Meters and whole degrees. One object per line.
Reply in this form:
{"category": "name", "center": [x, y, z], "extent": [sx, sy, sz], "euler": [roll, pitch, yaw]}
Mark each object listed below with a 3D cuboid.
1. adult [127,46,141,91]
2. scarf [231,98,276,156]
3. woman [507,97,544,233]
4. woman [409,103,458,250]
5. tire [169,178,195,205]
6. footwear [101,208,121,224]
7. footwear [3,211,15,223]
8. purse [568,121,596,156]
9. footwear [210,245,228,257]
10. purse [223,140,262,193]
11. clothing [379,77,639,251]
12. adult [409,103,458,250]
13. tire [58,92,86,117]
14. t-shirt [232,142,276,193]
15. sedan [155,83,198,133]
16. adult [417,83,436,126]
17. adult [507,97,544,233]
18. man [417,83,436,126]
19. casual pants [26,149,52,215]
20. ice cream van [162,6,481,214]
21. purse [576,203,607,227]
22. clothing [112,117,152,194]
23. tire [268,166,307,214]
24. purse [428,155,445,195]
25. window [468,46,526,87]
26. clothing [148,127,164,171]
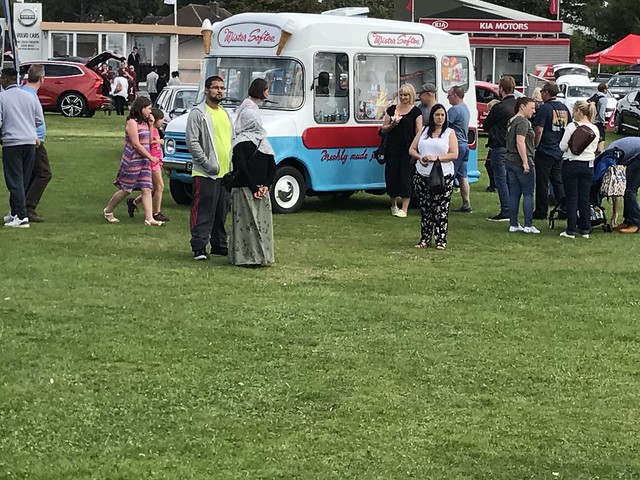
{"category": "adult", "center": [-7.486, -7.010, 39.714], "extent": [0.437, 1.618, 0.438], "euler": [3, 12, 26]}
{"category": "scarf", "center": [-0.835, -1.468, 12.010], "extent": [0.353, 0.577, 0.467], "euler": [0, 17, -5]}
{"category": "woman", "center": [2.999, -1.103, 14.659], "extent": [0.550, 1.957, 0.658], "euler": [11, 17, 37]}
{"category": "woman", "center": [1.551, -0.859, 13.450], "extent": [0.499, 1.988, 0.766], "euler": [-5, 15, -22]}
{"category": "tire", "center": [-2.283, -0.833, 16.384], "extent": [0.385, 0.427, 0.137], "euler": [-9, 13, -41]}
{"category": "footwear", "center": [-3.140, -0.368, 14.798], "extent": [0.142, 0.114, 0.381], "euler": [-22, 62, -35]}
{"category": "footwear", "center": [-4.475, -0.346, 14.189], "extent": [0.107, 0.138, 0.303], "euler": [13, 11, -25]}
{"category": "purse", "center": [3.629, -1.428, 13.813], "extent": [0.164, 0.326, 0.410], "euler": [22, 21, -20]}
{"category": "footwear", "center": [-1.306, 0.123, 12.745], "extent": [0.261, 0.204, 0.100], "euler": [-3, 9, -4]}
{"category": "purse", "center": [-0.926, -0.899, 11.837], "extent": [0.197, 0.572, 0.365], "euler": [16, 31, 14]}
{"category": "clothing", "center": [2.401, -1.296, 15.507], "extent": [3.586, 2.366, 2.227], "euler": [-1, 4, -25]}
{"category": "adult", "center": [1.551, -0.860, 13.454], "extent": [0.490, 1.988, 0.745], "euler": [-6, 15, -27]}
{"category": "tire", "center": [-8.676, -4.831, 34.473], "extent": [0.677, 0.749, 0.288], "euler": [-2, 33, -21]}
{"category": "t-shirt", "center": [-0.825, -0.892, 11.888], "extent": [0.488, 0.558, 0.295], "euler": [-2, 11, -24]}
{"category": "sedan", "center": [-3.538, -3.135, 23.158], "extent": [1.403, 0.779, 0.788], "euler": [19, 2, 30]}
{"category": "adult", "center": [1.700, -2.189, 15.881], "extent": [0.247, 0.835, 0.697], "euler": [4, 35, 5]}
{"category": "adult", "center": [2.996, -1.100, 14.650], "extent": [0.558, 1.957, 0.638], "euler": [11, 17, 37]}
{"category": "man", "center": [1.700, -2.189, 15.881], "extent": [0.247, 0.835, 0.697], "euler": [4, 35, 5]}
{"category": "casual pants", "center": [-4.263, -0.928, 14.778], "extent": [0.354, 1.219, 0.397], "euler": [10, -20, -40]}
{"category": "ice cream van", "center": [0.213, -2.489, 17.525], "extent": [4.875, 3.336, 2.673], "euler": [-9, 19, -40]}
{"category": "purse", "center": [4.166, -0.396, 15.062], "extent": [0.373, 0.405, 0.161], "euler": [-2, 11, 5]}
{"category": "clothing", "center": [-2.725, -1.218, 14.369], "extent": [0.519, 1.057, 0.352], "euler": [-3, 14, -13]}
{"category": "tire", "center": [-0.534, -0.818, 15.467], "extent": [0.522, 0.572, 0.193], "euler": [25, -8, -39]}
{"category": "purse", "center": [1.565, -0.946, 13.112], "extent": [0.225, 0.225, 0.590], "euler": [13, -27, 13]}
{"category": "window", "center": [7.566, -7.486, 43.493], "extent": [2.394, 1.949, 1.389], "euler": [1, -12, -16]}
{"category": "clothing", "center": [-2.448, -1.395, 14.777], "extent": [0.166, 0.698, 0.242], "euler": [-7, -10, 9]}
